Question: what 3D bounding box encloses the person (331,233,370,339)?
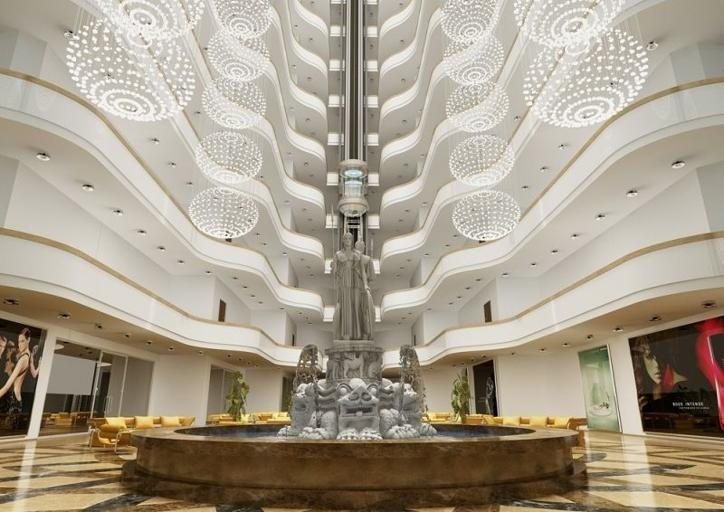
[{"bbox_3d":[-0.236,0.715,10.318,1.004,2.668,0.559,1,-24,-3],"label":"person"}]
